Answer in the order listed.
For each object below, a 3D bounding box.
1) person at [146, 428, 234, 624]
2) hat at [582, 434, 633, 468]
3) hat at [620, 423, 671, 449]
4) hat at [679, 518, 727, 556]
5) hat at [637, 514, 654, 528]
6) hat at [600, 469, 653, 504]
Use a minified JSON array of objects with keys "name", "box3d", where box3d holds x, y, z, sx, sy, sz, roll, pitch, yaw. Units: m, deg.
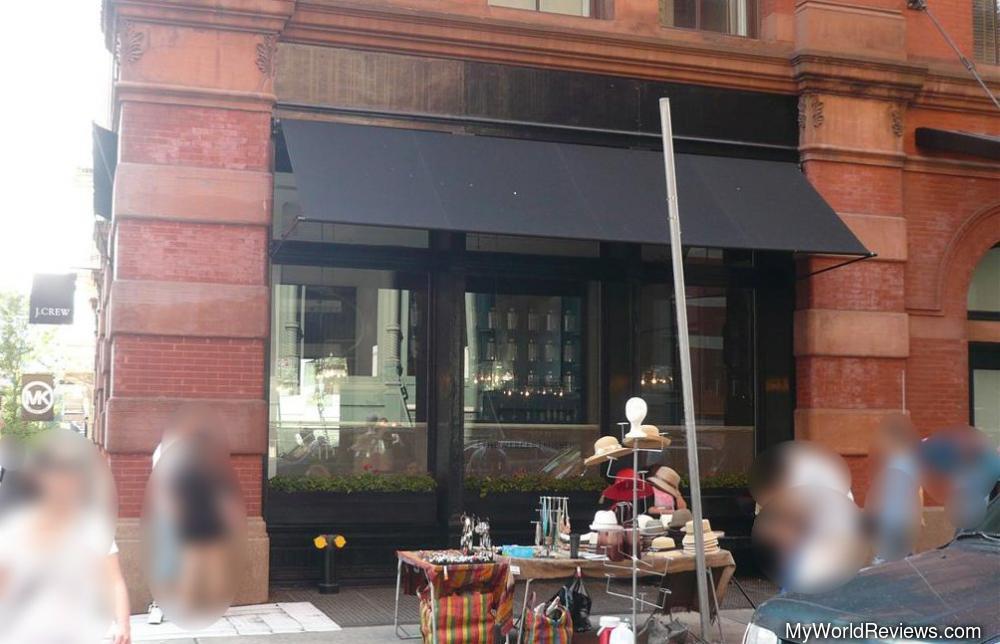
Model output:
[{"name":"person","box3d":[-2.761,1.831,11.110,0.810,1.747,0.310,1,-8,-14]},{"name":"hat","box3d":[1.410,1.655,16.087,0.523,0.353,0.795,-2,-8,6]},{"name":"hat","box3d":[1.919,1.539,16.633,0.518,0.211,0.584,2,-17,-5]},{"name":"hat","box3d":[2.563,2.774,15.894,0.404,0.299,0.556,-15,-11,3]},{"name":"hat","box3d":[1.905,2.591,16.086,0.185,0.151,0.348,-4,-9,19]},{"name":"hat","box3d":[1.598,2.065,15.931,0.652,0.302,0.791,-1,-25,-5]}]
